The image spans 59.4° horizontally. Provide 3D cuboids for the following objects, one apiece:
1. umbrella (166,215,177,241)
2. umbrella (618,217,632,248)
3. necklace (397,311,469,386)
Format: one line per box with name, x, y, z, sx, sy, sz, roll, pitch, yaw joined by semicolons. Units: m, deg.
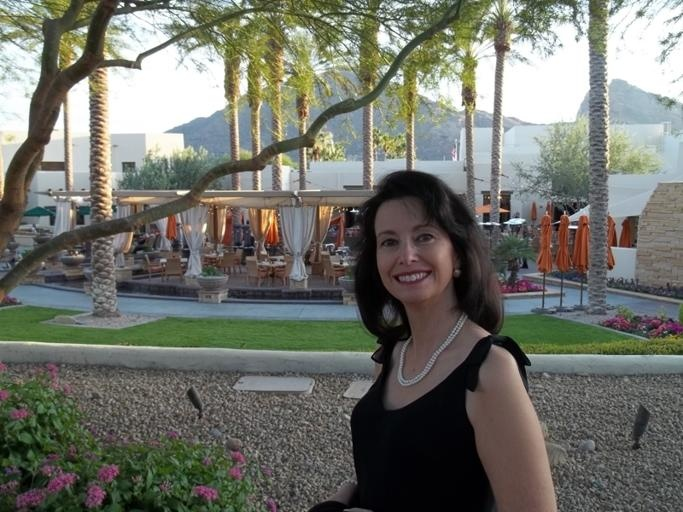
umbrella;-5.992;-1.069;21.528;0.327;0.803;0.866;-1;3;-18
umbrella;9.448;-0.835;20.792;0.353;0.983;0.653;1;3;18
necklace;0.434;0.518;3.152;0.032;0.408;0.310;22;23;-16
